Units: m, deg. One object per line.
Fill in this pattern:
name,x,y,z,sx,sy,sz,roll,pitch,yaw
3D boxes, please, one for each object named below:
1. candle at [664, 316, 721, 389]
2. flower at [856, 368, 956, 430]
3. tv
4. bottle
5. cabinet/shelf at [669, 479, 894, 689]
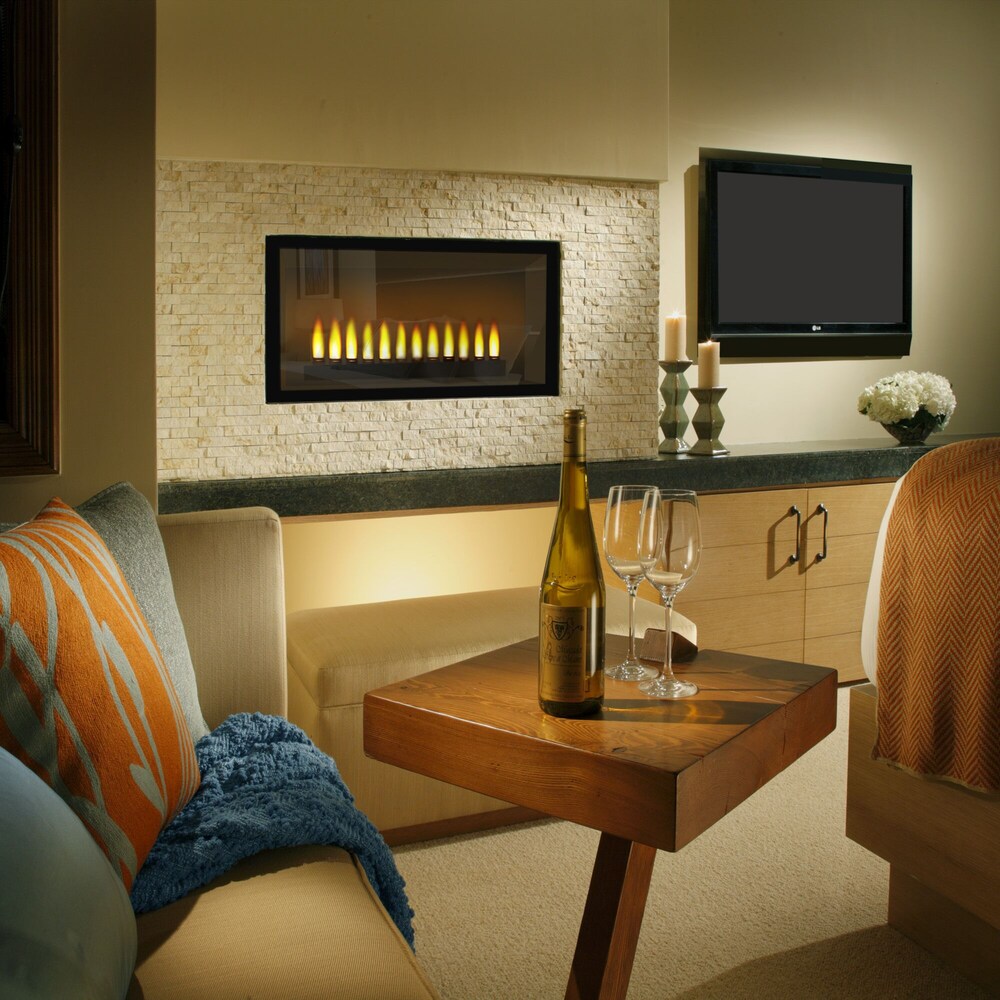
candle,0.739,-0.572,3.614,0.206,0.286,0.388,0,5,4
flower,1.635,-0.405,3.705,0.212,0.216,0.259,-4,6,12
tv,1.361,-1.053,4.004,1.187,0.886,0.076,-2,5,-24
bottle,0.085,0.074,1.088,0.081,0.357,0.136,1,4,7
cabinet/shelf,1.130,0.243,3.485,0.782,0.920,0.355,-5,29,13
